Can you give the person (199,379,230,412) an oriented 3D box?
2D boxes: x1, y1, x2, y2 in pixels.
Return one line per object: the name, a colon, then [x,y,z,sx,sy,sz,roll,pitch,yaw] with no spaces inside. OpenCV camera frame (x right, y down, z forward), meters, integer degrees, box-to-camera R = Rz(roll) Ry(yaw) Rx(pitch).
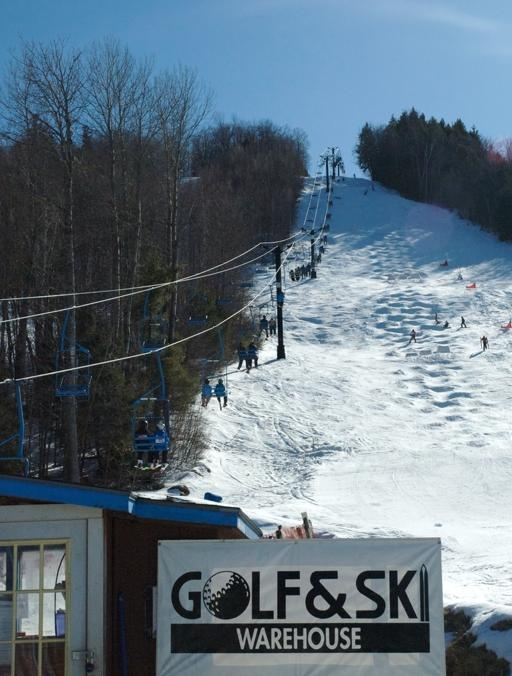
person: [-1.216,1.591,39.942,0.608,1.253,1.211,0,-11,0]
